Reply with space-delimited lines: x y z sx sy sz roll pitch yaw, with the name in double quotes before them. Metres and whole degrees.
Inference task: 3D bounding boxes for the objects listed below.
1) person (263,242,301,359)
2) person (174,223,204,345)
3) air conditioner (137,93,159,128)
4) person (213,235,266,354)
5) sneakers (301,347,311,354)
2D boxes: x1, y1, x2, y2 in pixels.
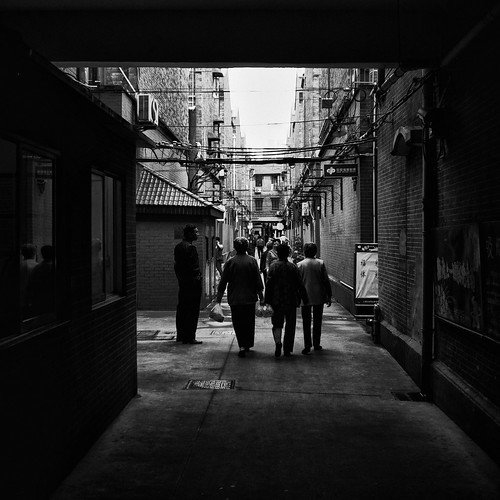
"person" 0.582 0.848 8.614 0.662 1.921 0.332 0 -1 -1
"person" -1.175 0.660 9.598 0.518 2.274 0.498 0 -1 10
"air conditioner" -3.150 -4.368 16.018 0.347 0.951 1.309 1 6 3
"person" -0.164 0.793 8.668 0.784 2.019 0.538 0 -1 1
"sneakers" 1.000 1.778 9.032 0.151 0.109 0.241 0 -1 5
